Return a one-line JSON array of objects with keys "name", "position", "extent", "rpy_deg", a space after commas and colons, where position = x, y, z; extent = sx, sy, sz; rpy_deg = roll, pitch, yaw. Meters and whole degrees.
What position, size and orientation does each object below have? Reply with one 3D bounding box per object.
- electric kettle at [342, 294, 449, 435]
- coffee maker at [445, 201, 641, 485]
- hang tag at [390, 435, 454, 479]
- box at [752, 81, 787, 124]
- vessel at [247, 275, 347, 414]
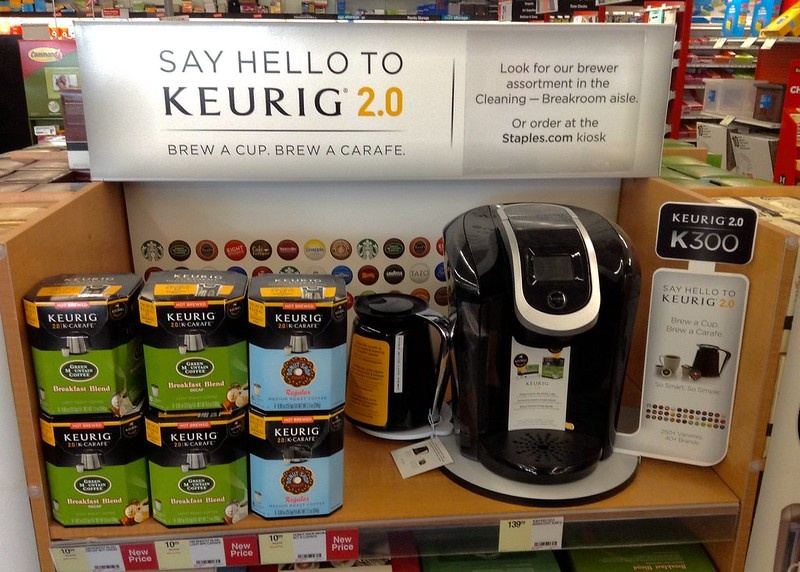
[{"name": "electric kettle", "position": [-0.007, 0.197, 1.600], "extent": [0.302, 0.312, 0.241], "rpy_deg": [12, 17, 34]}, {"name": "coffee maker", "position": [0.338, 0.110, 1.569], "extent": [0.437, 0.569, 0.582], "rpy_deg": [1, 18, 3]}, {"name": "hang tag", "position": [0.054, 0.419, 1.499], "extent": [0.116, 0.006, 0.086], "rpy_deg": [-14, 33, -14]}, {"name": "box", "position": [3.086, -1.533, 5.153], "extent": [0.111, 0.301, 0.456], "rpy_deg": [1, 22, 9]}, {"name": "vessel", "position": [-0.203, 0.112, 1.404], "extent": [0.244, 0.342, 0.250], "rpy_deg": [0, 15, -6]}]
